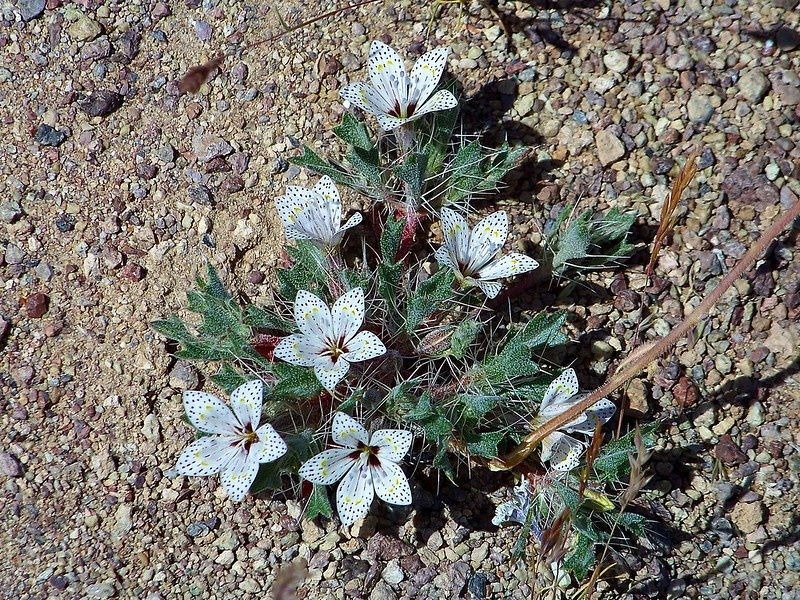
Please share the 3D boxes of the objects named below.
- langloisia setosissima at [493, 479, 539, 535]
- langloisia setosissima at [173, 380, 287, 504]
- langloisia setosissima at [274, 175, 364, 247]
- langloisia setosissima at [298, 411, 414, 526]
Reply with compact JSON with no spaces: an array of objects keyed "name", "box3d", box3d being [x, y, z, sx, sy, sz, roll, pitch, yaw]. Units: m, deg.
[{"name":"langloisia setosissima","box3d":[0.443,0.709,2.514,0.149,0.173,0.074,26,105,13]},{"name":"langloisia setosissima","box3d":[-0.530,0.458,2.314,0.363,0.143,0.390,-22,81,10]},{"name":"langloisia setosissima","box3d":[-0.291,-0.295,2.549,0.244,0.235,0.136,-11,79,-29]},{"name":"langloisia setosissima","box3d":[-0.159,0.471,2.277,0.353,0.453,0.099,3,43,-19]}]
